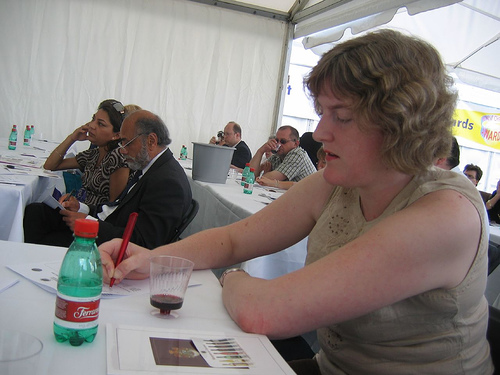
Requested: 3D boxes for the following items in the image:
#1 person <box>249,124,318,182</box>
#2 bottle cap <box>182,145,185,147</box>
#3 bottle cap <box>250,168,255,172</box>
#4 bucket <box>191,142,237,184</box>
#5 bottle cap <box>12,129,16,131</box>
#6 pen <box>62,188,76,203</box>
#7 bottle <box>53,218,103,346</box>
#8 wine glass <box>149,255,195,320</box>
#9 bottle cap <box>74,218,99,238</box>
[{"bbox_3d":[0.401,-0.439,4.738,0.606,0.535,1.027,25,32,-17],"label":"person"},{"bbox_3d":[-1.097,-0.681,6.011,0.037,0.047,0.067,2,2,2],"label":"bottle cap"},{"bbox_3d":[0.021,-0.155,3.210,0.043,0.034,0.062,4,-2,4],"label":"bottle cap"},{"bbox_3d":[-0.374,-0.222,3.464,0.368,0.370,0.234,8,10,-5],"label":"bucket"},{"bbox_3d":[-2.534,-0.613,3.915,0.026,0.019,0.026,2,2,12],"label":"bottle cap"},{"bbox_3d":[-1.540,0.066,3.112,0.031,0.138,0.033,43,8,-8],"label":"pen"},{"bbox_3d":[-0.378,0.226,0.810,0.093,0.222,0.103,5,11,-22],"label":"bottle"},{"bbox_3d":[-0.231,0.287,1.042,0.133,0.151,0.132,7,-13,-9],"label":"wine glass"},{"bbox_3d":[-0.358,0.087,0.794,0.044,0.030,0.044,3,5,-4],"label":"bottle cap"}]
